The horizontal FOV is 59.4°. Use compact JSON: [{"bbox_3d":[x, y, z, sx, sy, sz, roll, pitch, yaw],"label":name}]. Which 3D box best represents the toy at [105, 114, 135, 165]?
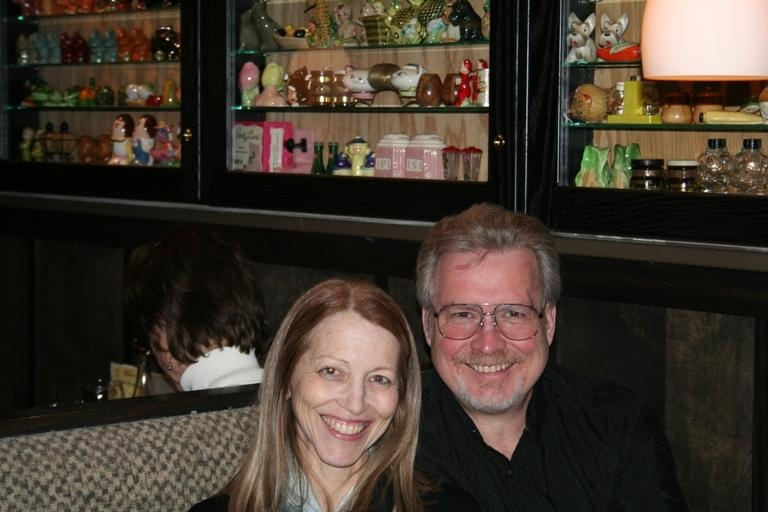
[{"bbox_3d":[-1.223,-0.545,3.127,0.127,0.246,0.334,-5,9,-20],"label":"toy"}]

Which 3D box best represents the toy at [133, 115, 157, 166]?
[{"bbox_3d":[-1.076,-0.521,3.031,0.119,0.234,0.274,-5,9,-19],"label":"toy"}]
